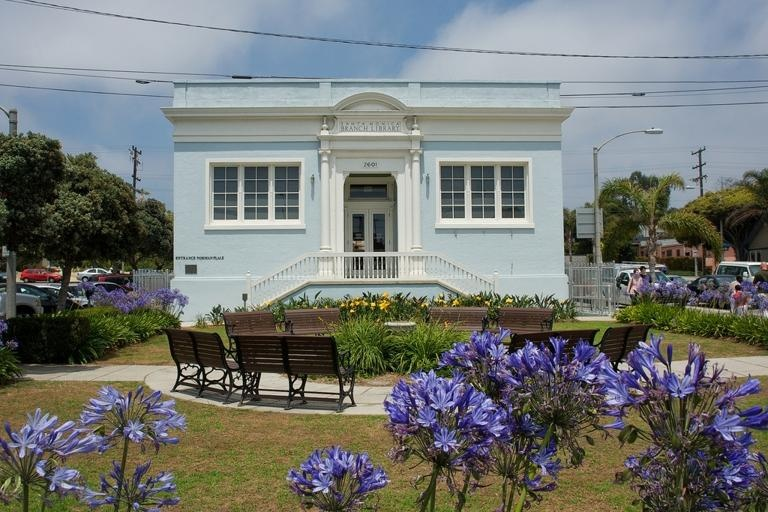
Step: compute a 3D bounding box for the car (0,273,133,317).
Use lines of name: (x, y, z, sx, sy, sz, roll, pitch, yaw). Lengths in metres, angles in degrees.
car: (-11.125, 1.381, 30.799, 3.188, 1.112, 1.484, -1, 0, -21)

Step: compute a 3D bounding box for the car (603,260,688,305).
car: (9.855, 1.007, 32.573, 1.312, 1.213, 2.301, 0, -10, -16)

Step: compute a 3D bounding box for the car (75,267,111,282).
car: (-21.066, 1.364, 63.019, 1.291, 0.973, 2.860, 1, 8, 6)

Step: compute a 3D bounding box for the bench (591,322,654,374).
bench: (5.100, 1.968, 18.290, 0.721, 0.991, 1.755, -1, 3, 29)

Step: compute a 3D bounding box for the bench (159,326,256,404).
bench: (-3.593, 2.245, 17.980, 1.918, 1.285, 0.917, -4, 0, 44)

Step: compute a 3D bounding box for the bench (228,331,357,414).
bench: (-1.613, 2.284, 17.026, 2.293, 1.397, 0.969, -2, -10, 27)

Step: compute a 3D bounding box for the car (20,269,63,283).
car: (-25.588, 1.527, 64.553, 2.405, 0.845, 1.418, -2, 3, -8)

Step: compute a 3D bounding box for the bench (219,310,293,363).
bench: (-3.258, 1.751, 21.565, 1.819, 1.263, 0.838, 2, -5, -27)

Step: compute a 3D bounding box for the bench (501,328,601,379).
bench: (2.381, 1.389, 12.213, 0.992, 0.446, 0.359, 0, 2, -28)
